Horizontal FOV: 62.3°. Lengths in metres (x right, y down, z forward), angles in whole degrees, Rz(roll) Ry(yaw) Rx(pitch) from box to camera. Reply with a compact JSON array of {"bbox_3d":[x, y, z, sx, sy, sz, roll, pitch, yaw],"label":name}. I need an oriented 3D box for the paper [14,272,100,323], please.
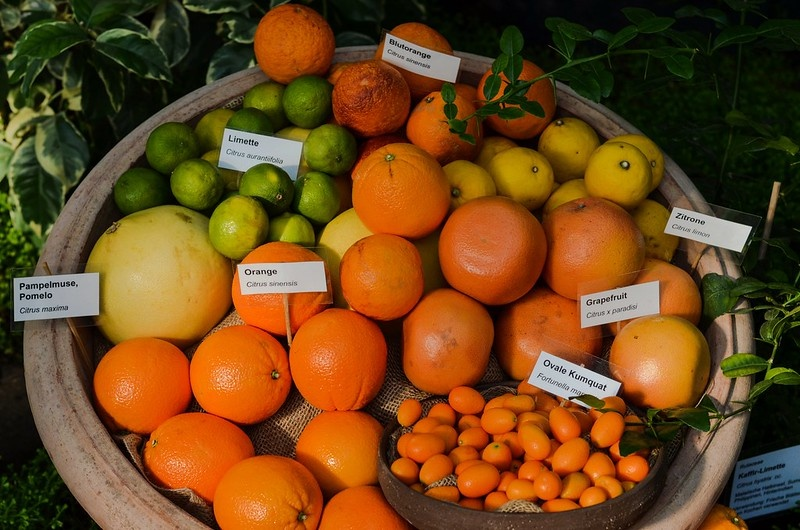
[{"bbox_3d":[-1.154,0.114,2.207,0.268,0.023,0.167,-3,80,-16],"label":"paper"}]
